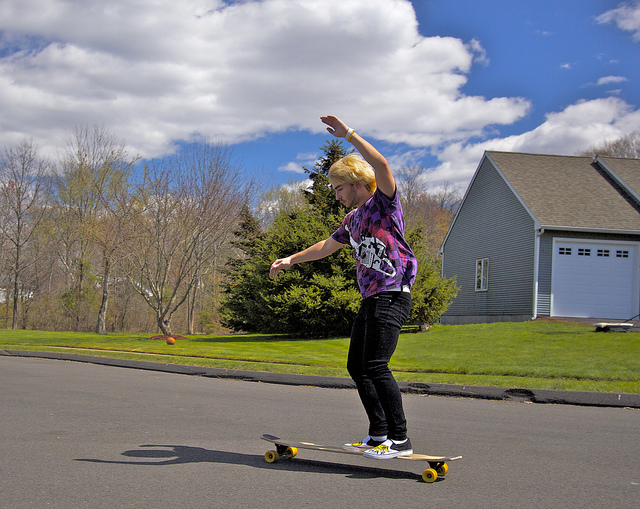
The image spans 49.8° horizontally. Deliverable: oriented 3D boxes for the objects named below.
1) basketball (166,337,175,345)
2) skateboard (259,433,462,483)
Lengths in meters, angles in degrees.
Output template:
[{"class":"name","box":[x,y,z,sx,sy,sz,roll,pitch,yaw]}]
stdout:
[{"class":"basketball","box":[-4.336,2.541,20.267,0.222,0.196,0.217,12,-4,-44]},{"class":"skateboard","box":[0.408,2.171,7.301,1.985,0.241,0.395,2,-6,16]}]
